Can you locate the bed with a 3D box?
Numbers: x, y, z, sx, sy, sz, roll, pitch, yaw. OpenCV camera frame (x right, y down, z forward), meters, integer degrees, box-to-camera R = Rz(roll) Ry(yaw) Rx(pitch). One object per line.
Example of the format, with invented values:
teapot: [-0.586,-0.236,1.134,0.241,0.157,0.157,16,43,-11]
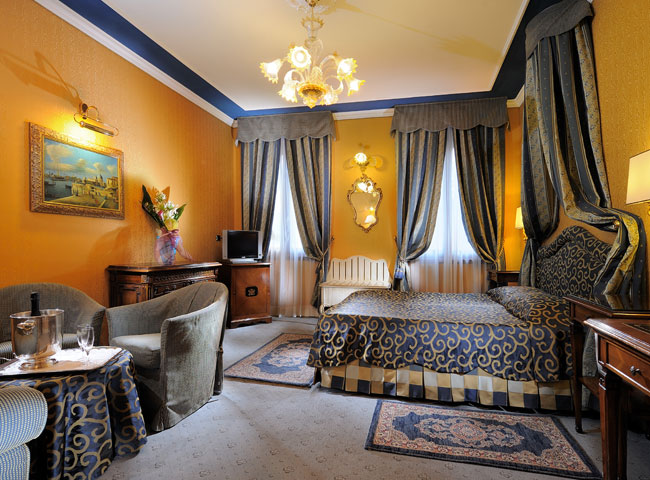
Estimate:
bed: [1.378,0.565,4.575,2.100,1.542,1.778,1,-1,18]

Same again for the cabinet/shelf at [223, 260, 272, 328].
cabinet/shelf: [-1.168,0.842,7.133,0.888,1.356,0.827,0,-5,-8]

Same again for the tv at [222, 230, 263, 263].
tv: [-1.289,0.100,6.914,0.455,0.368,0.138,1,-1,-26]

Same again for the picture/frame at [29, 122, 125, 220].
picture/frame: [-2.667,-0.730,4.779,0.038,0.828,1.062,-3,-6,24]
